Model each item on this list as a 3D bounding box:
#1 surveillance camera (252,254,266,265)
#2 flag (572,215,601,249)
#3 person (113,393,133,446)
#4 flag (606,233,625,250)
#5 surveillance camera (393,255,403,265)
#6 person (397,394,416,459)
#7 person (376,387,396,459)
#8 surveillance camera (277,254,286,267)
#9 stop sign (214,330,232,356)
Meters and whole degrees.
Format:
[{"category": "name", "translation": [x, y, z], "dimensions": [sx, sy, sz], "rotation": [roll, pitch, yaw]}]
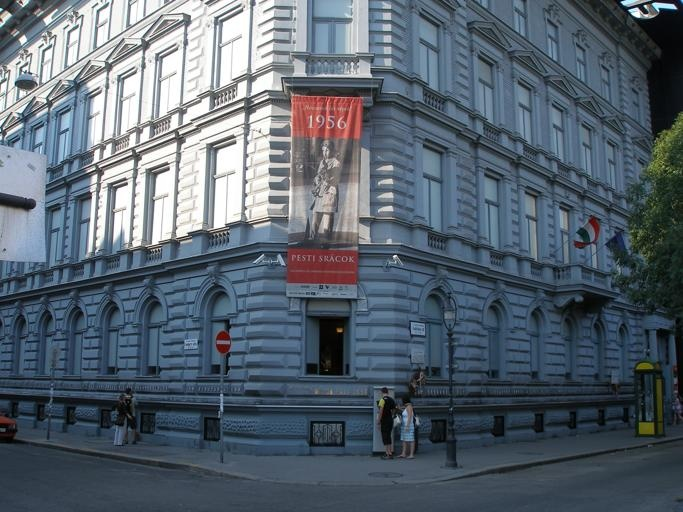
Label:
[{"category": "surveillance camera", "translation": [-3.416, 0.126, 37.135], "dimensions": [0.619, 0.415, 0.177], "rotation": [-1, -2, 39]}, {"category": "flag", "translation": [12.615, -1.289, 46.233], "dimensions": [1.741, 2.010, 0.452], "rotation": [4, 12, 44]}, {"category": "person", "translation": [-9.516, 7.013, 38.936], "dimensions": [0.719, 2.333, 1.064], "rotation": [1, -2, -14]}, {"category": "flag", "translation": [14.310, -0.753, 46.638], "dimensions": [0.908, 0.923, 0.121], "rotation": [-12, 16, -14]}, {"category": "surveillance camera", "translation": [2.380, 0.128, 37.302], "dimensions": [0.488, 0.419, 0.201], "rotation": [2, -2, -39]}, {"category": "person", "translation": [2.660, 6.758, 35.723], "dimensions": [0.590, 2.510, 1.119], "rotation": [0, -1, 4]}, {"category": "person", "translation": [1.810, 6.585, 35.407], "dimensions": [0.693, 2.745, 0.534], "rotation": [0, -1, 2]}, {"category": "surveillance camera", "translation": [-2.460, 0.177, 36.912], "dimensions": [0.323, 0.490, 0.159], "rotation": [2, -12, -38]}, {"category": "stop sign", "translation": [-4.495, 3.331, 34.157], "dimensions": [0.483, 0.905, 0.874], "rotation": [1, -2, -1]}]
